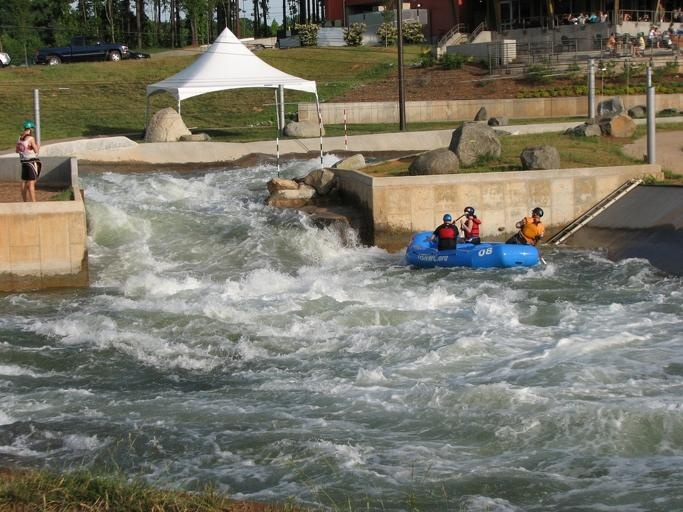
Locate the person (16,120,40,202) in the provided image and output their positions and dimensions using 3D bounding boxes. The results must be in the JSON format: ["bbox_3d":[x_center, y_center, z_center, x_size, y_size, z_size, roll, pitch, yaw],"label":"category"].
[{"bbox_3d":[-9.767,-2.954,42.333,0.993,2.562,1.018,3,10,21],"label":"person"}]
